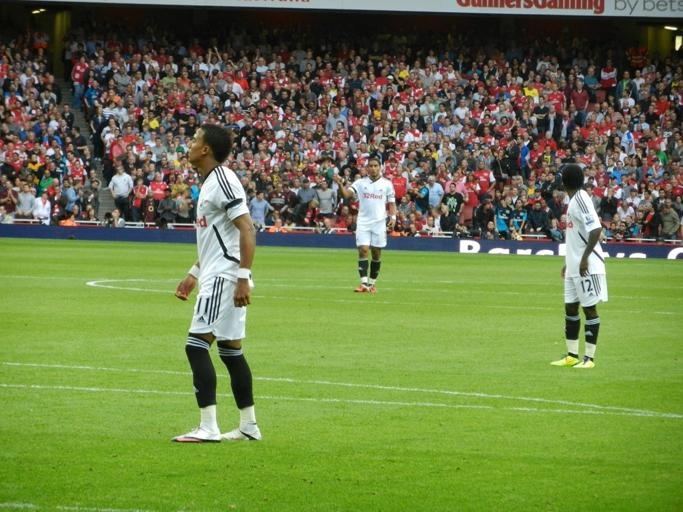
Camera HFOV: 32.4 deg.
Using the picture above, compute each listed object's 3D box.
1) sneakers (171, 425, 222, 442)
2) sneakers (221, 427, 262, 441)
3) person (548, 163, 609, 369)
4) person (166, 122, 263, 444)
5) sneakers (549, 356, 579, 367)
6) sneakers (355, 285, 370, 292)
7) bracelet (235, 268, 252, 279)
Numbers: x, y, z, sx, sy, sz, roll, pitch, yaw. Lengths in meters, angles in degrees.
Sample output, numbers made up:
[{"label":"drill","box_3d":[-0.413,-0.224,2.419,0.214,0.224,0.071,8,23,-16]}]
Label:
[{"label":"sneakers","box_3d":[-1.681,2.123,13.863,0.398,0.146,0.244,1,-7,6]},{"label":"sneakers","box_3d":[-1.188,2.138,14.082,0.486,0.195,0.171,5,-12,3]},{"label":"person","box_3d":[3.496,0.142,17.034,0.706,2.886,0.663,4,9,14]},{"label":"person","box_3d":[-1.458,0.305,14.038,0.936,3.697,0.973,-1,9,-16]},{"label":"sneakers","box_3d":[3.261,1.524,17.136,0.401,0.162,0.159,0,0,10]},{"label":"sneakers","box_3d":[0.411,0.637,23.213,0.279,0.166,0.220,3,9,9]},{"label":"bracelet","box_3d":[-1.161,0.213,13.850,0.129,0.098,0.132,-3,-4,43]}]
